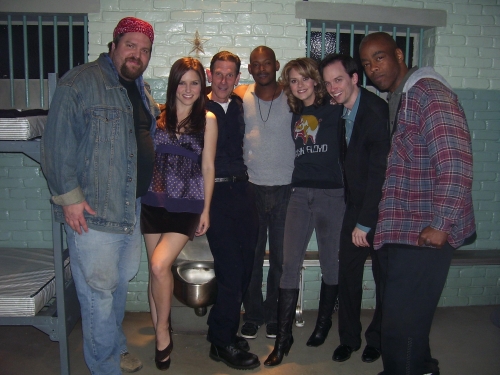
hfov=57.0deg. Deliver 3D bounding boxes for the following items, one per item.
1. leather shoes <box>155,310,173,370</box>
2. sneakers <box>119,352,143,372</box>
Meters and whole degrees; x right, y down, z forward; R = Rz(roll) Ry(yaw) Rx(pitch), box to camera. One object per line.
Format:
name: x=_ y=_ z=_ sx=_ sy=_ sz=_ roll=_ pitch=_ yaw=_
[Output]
leather shoes: x=-0.766 y=1.387 z=4.146 sx=0.149 sy=0.550 sz=0.101 roll=0 pitch=13 yaw=8
sneakers: x=-1.077 y=1.573 z=4.153 sx=0.204 sy=0.059 sz=0.112 roll=16 pitch=23 yaw=28
